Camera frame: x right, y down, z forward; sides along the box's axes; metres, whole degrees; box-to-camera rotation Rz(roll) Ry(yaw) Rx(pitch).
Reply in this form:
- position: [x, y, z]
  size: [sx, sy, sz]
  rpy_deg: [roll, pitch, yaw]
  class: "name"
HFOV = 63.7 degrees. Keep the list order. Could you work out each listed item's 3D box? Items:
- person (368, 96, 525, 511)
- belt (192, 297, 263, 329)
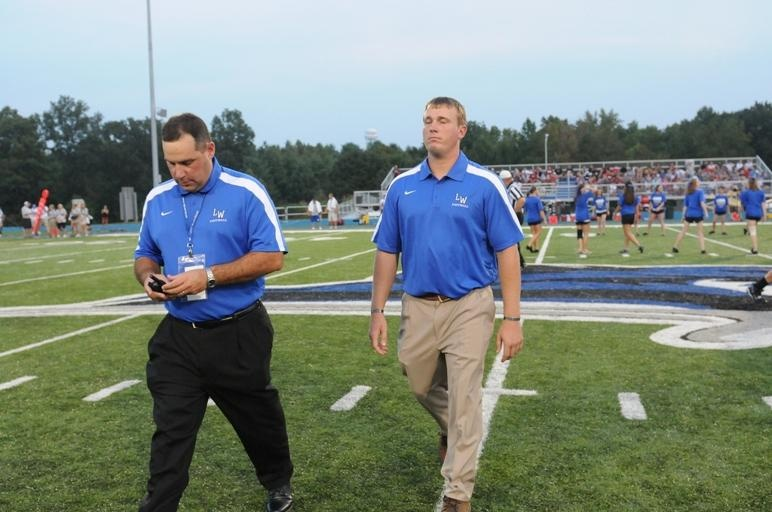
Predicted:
- position: [0.445, 0.286, 4.608]
  size: [1.036, 2.836, 0.920]
  rpy_deg: [11, 18, 43]
  class: "person"
- position: [-1.118, 0.409, 4.395]
  size: [0.523, 0.160, 0.158]
  rpy_deg: [-6, 14, -20]
  class: "belt"
